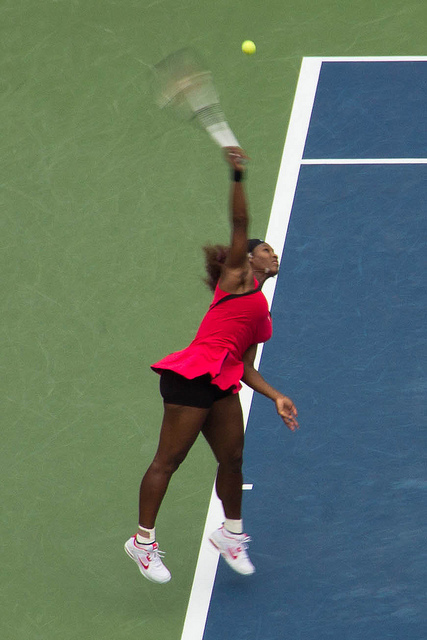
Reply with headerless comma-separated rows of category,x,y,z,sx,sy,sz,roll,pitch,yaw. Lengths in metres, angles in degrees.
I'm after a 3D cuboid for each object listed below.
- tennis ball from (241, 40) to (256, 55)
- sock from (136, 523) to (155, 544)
tennis ball,0.284,-2.188,6.683,0.125,0.063,0.106,3,96,-8
sock,-0.370,1.183,4.531,0.116,0.088,0.099,2,88,16
